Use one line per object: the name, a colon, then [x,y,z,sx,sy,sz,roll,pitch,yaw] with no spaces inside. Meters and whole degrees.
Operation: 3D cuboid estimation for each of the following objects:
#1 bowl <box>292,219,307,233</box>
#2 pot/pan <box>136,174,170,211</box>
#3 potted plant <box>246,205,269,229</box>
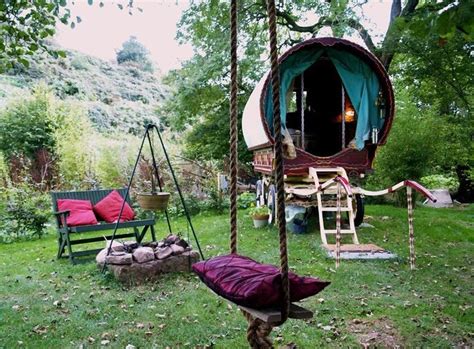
bowl: [1.603,1.289,10.299,0.313,0.309,0.311,0,-4,0]
pot/pan: [-1.600,0.367,7.810,0.510,0.732,0.427,1,3,-32]
potted plant: [0.654,1.150,11.032,0.536,0.586,0.558,-2,0,-12]
